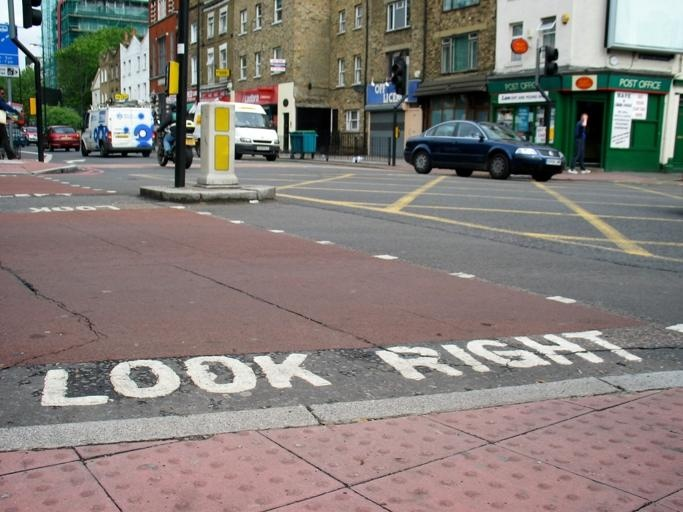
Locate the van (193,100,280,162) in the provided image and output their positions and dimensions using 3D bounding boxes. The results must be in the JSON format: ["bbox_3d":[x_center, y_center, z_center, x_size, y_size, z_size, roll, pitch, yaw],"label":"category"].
[{"bbox_3d":[-3.900,-5.416,30.245,2.022,2.577,1.317,-7,15,-27],"label":"van"}]

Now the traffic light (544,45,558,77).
[{"bbox_3d":[7.047,-6.543,22.804,0.369,0.928,1.925,4,15,18],"label":"traffic light"}]

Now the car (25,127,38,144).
[{"bbox_3d":[-30.483,-11.792,66.897,0.753,1.599,8.262,-6,15,-22],"label":"car"}]

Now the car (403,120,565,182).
[{"bbox_3d":[4.451,-3.320,21.558,2.028,1.696,4.909,-5,10,-37],"label":"car"}]

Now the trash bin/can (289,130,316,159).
[{"bbox_3d":[-2.058,-5.869,36.127,1.247,1.537,1.333,-6,15,-23],"label":"trash bin/can"}]

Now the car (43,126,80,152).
[{"bbox_3d":[-19.136,-8.013,46.878,2.042,1.735,2.275,-5,15,-20],"label":"car"}]

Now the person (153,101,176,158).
[{"bbox_3d":[-5.596,-3.871,21.693,1.001,1.448,2.298,1,14,-14],"label":"person"}]

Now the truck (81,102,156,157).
[{"bbox_3d":[-11.104,-6.315,33.827,2.164,1.962,4.034,-5,17,-32],"label":"truck"}]
